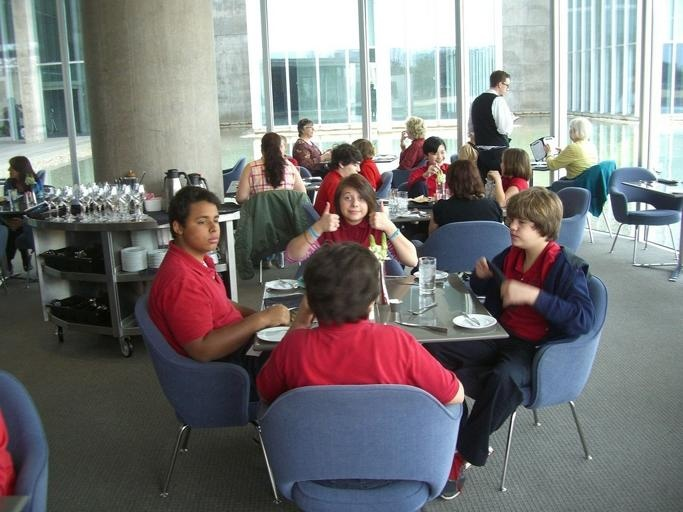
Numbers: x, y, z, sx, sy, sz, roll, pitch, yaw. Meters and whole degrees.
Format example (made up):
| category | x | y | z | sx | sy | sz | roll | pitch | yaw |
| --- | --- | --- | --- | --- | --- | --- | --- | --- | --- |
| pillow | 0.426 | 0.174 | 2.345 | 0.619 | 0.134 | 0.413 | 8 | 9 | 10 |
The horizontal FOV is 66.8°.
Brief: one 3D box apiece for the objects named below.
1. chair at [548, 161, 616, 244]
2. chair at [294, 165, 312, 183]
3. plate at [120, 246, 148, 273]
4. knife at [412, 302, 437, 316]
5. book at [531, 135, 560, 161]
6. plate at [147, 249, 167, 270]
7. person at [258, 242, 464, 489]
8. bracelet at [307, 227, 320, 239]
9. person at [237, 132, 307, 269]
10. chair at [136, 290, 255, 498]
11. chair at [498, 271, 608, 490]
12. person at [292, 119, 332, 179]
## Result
| category | x | y | z | sx | sy | sz | roll | pitch | yaw |
| --- | --- | --- | --- | --- | --- | --- | --- | --- | --- |
| chair | 2.855 | -0.689 | 6.283 | 0.717 | 1.048 | 0.790 | 12 | 21 | 37 |
| chair | -0.506 | -1.114 | 7.202 | 0.255 | 0.297 | 0.300 | 3 | -2 | -12 |
| plate | -1.529 | 0.032 | 3.834 | 0.175 | 0.143 | 0.173 | 0 | 9 | -8 |
| knife | 0.383 | 0.232 | 2.420 | 0.045 | 0.034 | 0.155 | 15 | 24 | 38 |
| book | 2.497 | -1.321 | 6.580 | 0.323 | 0.344 | 0.076 | -4 | 6 | -4 |
| plate | -1.264 | 0.036 | 3.540 | 0.122 | 0.091 | 0.126 | 0 | 10 | -4 |
| person | 0.023 | 0.365 | 1.727 | 0.676 | 0.900 | 0.471 | 2 | 42 | 1 |
| bracelet | -0.161 | -0.122 | 3.045 | 0.064 | 0.045 | 0.064 | 42 | 4 | 5 |
| person | -0.706 | -0.467 | 5.626 | 0.744 | 1.679 | 0.698 | -4 | -8 | -7 |
| chair | -0.602 | 0.545 | 2.321 | 0.526 | 0.755 | 0.579 | -4 | 16 | -10 |
| chair | 1.013 | 0.583 | 2.501 | 0.416 | 0.945 | 0.643 | 4 | 15 | 26 |
| person | -0.399 | -1.589 | 7.774 | 0.630 | 0.896 | 0.580 | 4 | 15 | 20 |
